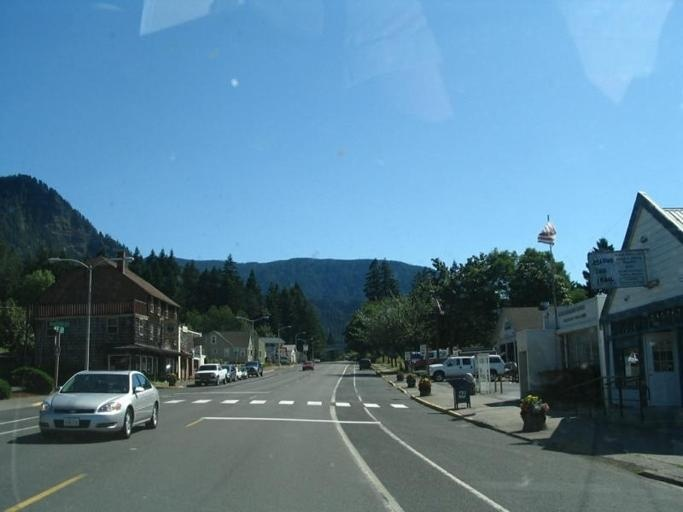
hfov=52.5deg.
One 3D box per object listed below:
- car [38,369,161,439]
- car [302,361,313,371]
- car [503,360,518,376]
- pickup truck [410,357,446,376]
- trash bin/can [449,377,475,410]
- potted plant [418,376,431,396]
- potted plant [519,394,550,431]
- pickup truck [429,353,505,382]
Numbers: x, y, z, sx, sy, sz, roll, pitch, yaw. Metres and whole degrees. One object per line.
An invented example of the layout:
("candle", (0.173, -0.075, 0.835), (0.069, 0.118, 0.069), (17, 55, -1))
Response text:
("car", (-7.462, 4.567, 21.470), (3.450, 2.198, 2.332), (5, -16, -31))
("car", (-4.572, 15.246, 96.614), (1.112, 1.452, 2.417), (4, -17, -30))
("car", (12.933, 8.503, 52.572), (1.037, 1.204, 2.089), (-7, -17, 25))
("pickup truck", (8.585, 10.852, 67.629), (3.190, 2.027, 1.992), (-4, -3, 4))
("trash bin/can", (5.816, 6.636, 33.228), (1.106, 1.951, 1.302), (-1, -22, 3))
("potted plant", (4.830, 7.541, 39.949), (0.710, 1.047, 0.760), (-4, -6, 34))
("potted plant", (6.805, 5.448, 24.209), (0.902, 1.399, 0.973), (1, -1, 4))
("pickup truck", (9.358, 8.406, 52.397), (2.608, 2.022, 6.226), (7, -20, -36))
